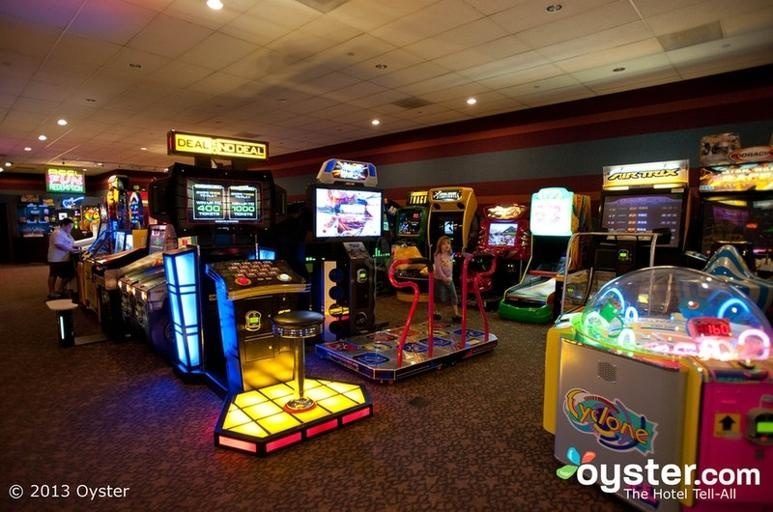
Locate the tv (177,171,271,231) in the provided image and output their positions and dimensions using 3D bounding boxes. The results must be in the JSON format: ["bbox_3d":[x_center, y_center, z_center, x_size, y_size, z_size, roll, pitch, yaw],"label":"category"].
[{"bbox_3d":[-1.806,-0.615,5.609,1.470,0.802,0.211,4,7,21],"label":"tv"}]

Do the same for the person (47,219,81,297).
[{"bbox_3d":[-6.491,0.020,9.650,0.626,1.565,0.988,-7,12,-30],"label":"person"}]

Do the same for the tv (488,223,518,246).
[{"bbox_3d":[2.243,-0.423,9.238,0.471,0.360,0.063,9,-8,45],"label":"tv"}]

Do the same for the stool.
[{"bbox_3d":[-0.910,1.024,4.915,0.454,1.008,0.636,-5,11,-21],"label":"stool"}]

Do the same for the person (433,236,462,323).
[{"bbox_3d":[0.979,0.345,7.858,0.419,1.393,1.078,0,10,5],"label":"person"}]

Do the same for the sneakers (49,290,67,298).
[{"bbox_3d":[-6.568,0.759,9.664,0.152,0.156,0.411,0,5,-21],"label":"sneakers"}]

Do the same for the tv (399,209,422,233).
[{"bbox_3d":[0.475,-0.749,10.032,0.549,0.473,0.130,5,-1,28],"label":"tv"}]
